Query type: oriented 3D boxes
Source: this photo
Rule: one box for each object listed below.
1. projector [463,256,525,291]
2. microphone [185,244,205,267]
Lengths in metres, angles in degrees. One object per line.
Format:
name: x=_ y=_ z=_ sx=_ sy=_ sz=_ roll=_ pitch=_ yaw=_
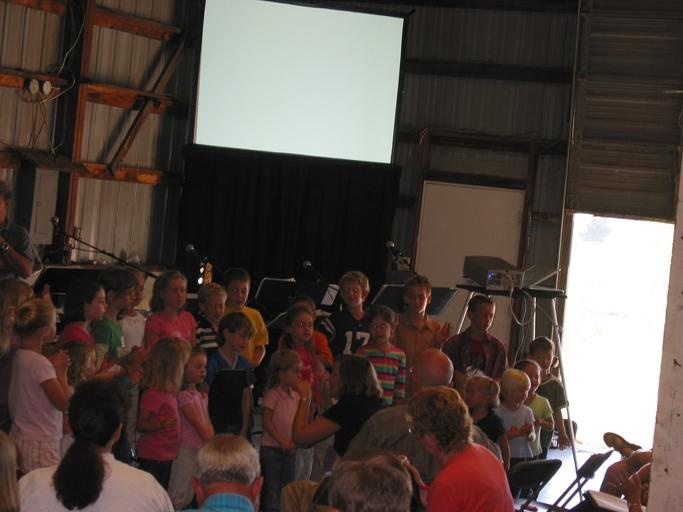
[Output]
projector: x=1.326 y=0.145 z=6.556 sx=0.344 sy=0.299 sz=0.433 roll=1 pitch=5 yaw=-27
microphone: x=-1.653 y=0.015 z=8.516 sx=0.126 sy=0.123 sz=0.230 roll=-2 pitch=-42 yaw=49
